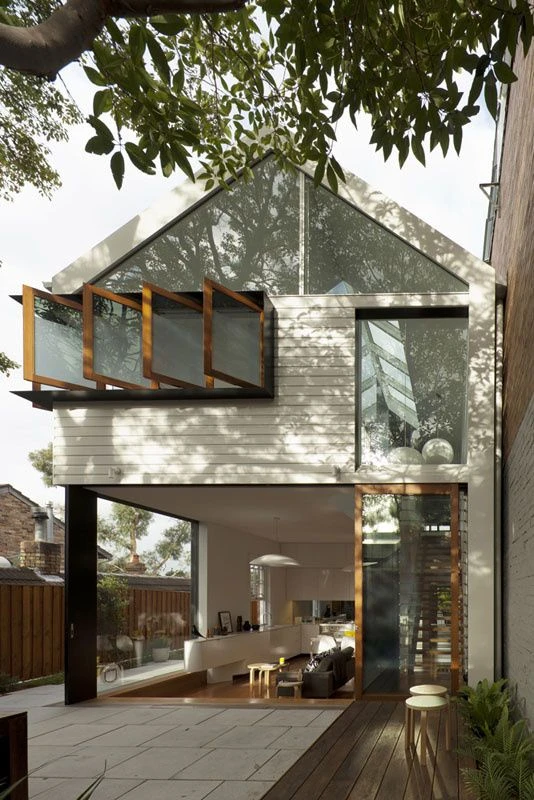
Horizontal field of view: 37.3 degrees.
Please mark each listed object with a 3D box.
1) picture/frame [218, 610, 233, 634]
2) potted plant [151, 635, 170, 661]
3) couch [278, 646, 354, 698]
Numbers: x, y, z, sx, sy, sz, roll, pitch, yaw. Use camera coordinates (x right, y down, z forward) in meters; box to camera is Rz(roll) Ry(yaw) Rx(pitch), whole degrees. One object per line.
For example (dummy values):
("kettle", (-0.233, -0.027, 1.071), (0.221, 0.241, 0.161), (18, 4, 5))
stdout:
("picture/frame", (-0.840, 4.373, 15.643), (0.046, 0.311, 0.447), (-16, -16, 9))
("potted plant", (-1.813, 4.187, 13.377), (0.379, 0.461, 0.395), (-2, -8, 4))
("couch", (0.722, 4.342, 12.331), (0.783, 0.753, 2.693), (-7, -11, 16))
